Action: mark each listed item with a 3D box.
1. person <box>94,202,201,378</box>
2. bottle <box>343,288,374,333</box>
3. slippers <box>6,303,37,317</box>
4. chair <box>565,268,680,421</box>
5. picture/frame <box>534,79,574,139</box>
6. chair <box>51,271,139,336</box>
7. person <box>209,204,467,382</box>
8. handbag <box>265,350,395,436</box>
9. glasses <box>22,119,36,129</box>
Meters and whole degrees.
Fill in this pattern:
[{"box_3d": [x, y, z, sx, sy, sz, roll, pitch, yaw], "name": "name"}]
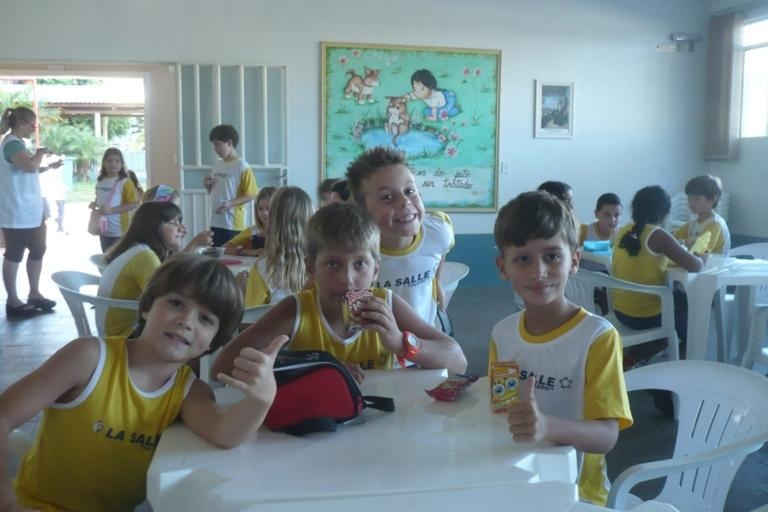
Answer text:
[{"box_3d": [-1.390, 0.090, 3.504, 0.579, 0.958, 0.416, 12, 32, -17], "name": "person"}, {"box_3d": [-0.079, 0.194, 2.121, 0.137, 0.131, 0.038, -5, -6, 43], "name": "bottle"}, {"box_3d": [-3.302, 0.484, 5.383, 0.233, 0.082, 0.120, -1, 3, -10], "name": "slippers"}, {"box_3d": [1.692, 0.501, 3.871, 0.624, 0.866, 0.682, -5, 1, 14], "name": "chair"}, {"box_3d": [2.010, -1.788, 7.005, 0.716, 0.888, 0.064, -1, 4, -14], "name": "picture/frame"}, {"box_3d": [-1.602, 0.265, 3.245, 0.379, 0.330, 0.385, -13, 7, 41], "name": "chair"}, {"box_3d": [-0.151, 0.155, 2.301, 0.948, 0.641, 0.561, 0, 3, -14], "name": "person"}, {"box_3d": [-0.214, 0.439, 1.885, 0.299, 0.128, 0.214, 6, -3, -10], "name": "handbag"}, {"box_3d": [-3.187, -1.204, 5.331, 0.062, 0.103, 0.133, 1, 10, 2], "name": "glasses"}]
